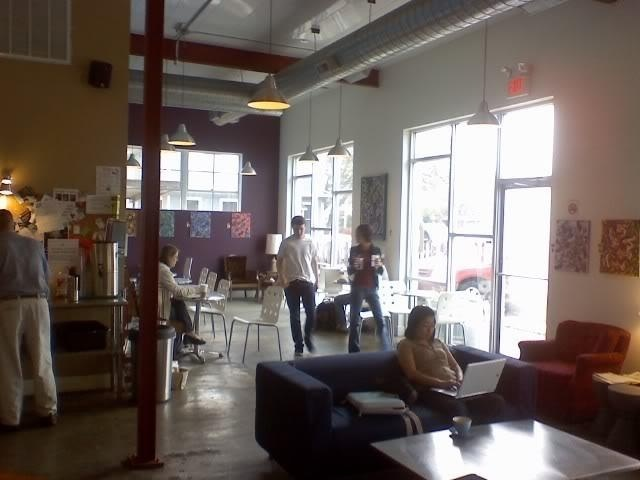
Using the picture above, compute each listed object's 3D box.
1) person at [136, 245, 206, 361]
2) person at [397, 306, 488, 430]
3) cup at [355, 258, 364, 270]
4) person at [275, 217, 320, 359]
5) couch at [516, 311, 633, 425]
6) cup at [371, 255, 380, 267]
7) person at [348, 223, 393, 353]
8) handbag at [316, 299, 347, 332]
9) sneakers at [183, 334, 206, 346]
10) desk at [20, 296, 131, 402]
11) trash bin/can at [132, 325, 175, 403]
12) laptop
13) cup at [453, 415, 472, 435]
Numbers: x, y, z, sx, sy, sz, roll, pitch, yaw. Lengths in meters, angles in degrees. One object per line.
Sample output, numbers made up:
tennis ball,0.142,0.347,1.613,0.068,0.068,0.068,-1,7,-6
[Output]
person,-2.071,0.790,7.917,1.278,2.270,1.092,-1,4,-20
person,1.314,1.148,4.925,0.594,1.007,0.888,5,-12,-34
cup,0.551,0.321,7.346,0.138,0.160,0.064,0,1,-42
person,-0.336,0.658,7.766,0.553,2.032,0.583,1,1,4
couch,2.851,1.447,6.303,1.117,1.363,1.084,2,-3,-26
cup,0.769,0.287,7.343,0.123,0.176,0.089,1,1,5
person,0.696,0.684,7.517,0.630,1.831,0.679,1,1,-5
handbag,0.214,1.406,9.764,0.519,0.599,0.429,3,2,-10
sneakers,-1.772,1.396,7.421,0.384,0.166,0.134,0,-2,4
desk,-2.693,1.258,6.199,0.754,0.944,1.000,0,-13,-19
trash bin/can,-1.835,1.355,5.716,0.478,0.890,1.238,1,1,-15
laptop,1.371,1.216,4.663,0.401,0.302,0.419,3,3,-30
cup,1.089,1.417,4.073,0.121,0.101,0.117,-3,0,0
